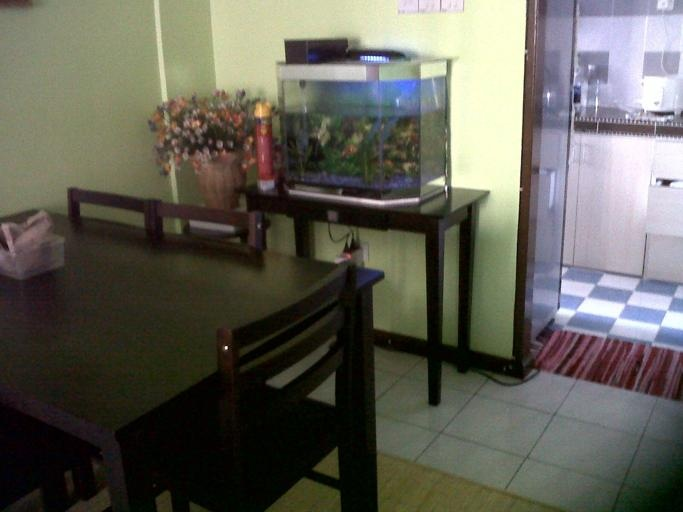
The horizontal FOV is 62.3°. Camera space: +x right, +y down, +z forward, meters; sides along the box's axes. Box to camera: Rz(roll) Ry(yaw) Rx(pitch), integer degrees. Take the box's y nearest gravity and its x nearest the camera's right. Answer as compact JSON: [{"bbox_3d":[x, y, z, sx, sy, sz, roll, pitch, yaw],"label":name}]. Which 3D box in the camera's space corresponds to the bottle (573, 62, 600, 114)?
[{"bbox_3d":[1.583,-1.095,3.636,0.154,0.300,0.082,7,22,25],"label":"bottle"}]

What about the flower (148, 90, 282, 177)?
[{"bbox_3d":[-0.663,-0.611,2.851,0.473,0.384,0.345,2,21,15],"label":"flower"}]
